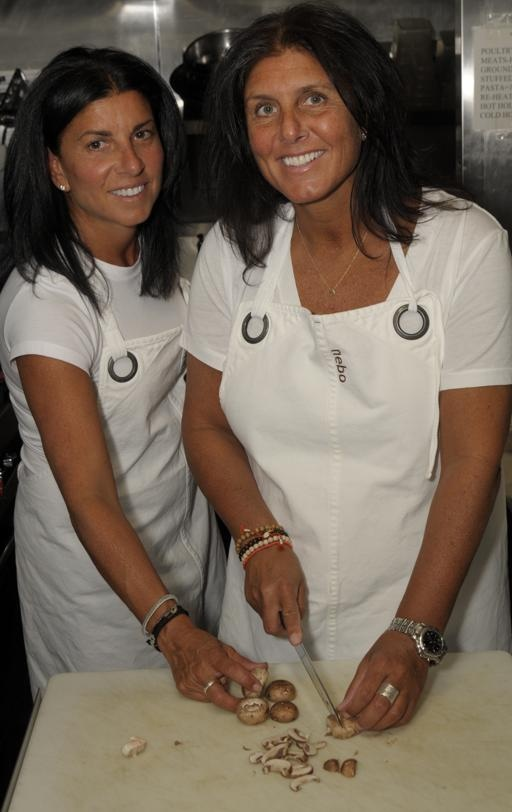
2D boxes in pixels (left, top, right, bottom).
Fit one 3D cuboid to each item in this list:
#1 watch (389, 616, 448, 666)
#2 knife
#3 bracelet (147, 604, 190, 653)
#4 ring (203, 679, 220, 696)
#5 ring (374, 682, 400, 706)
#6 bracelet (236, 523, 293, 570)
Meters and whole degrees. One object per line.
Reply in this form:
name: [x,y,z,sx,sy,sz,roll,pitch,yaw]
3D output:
watch: [0.196,0.273,0.799,0.065,0.068,0.042,-8,40,54]
knife: [0.066,0.301,0.820,0.007,0.020,0.164,10,50,-47]
bracelet: [-0.119,0.289,0.893,0.025,0.056,0.062,31,1,3]
ring: [-0.053,0.323,0.785,0.016,0.015,0.016,1,18,0]
ring: [0.143,0.312,0.742,0.019,0.015,0.020,4,61,-7]
bracelet: [0.004,0.198,1.031,0.098,0.062,0.056,-6,11,-32]
